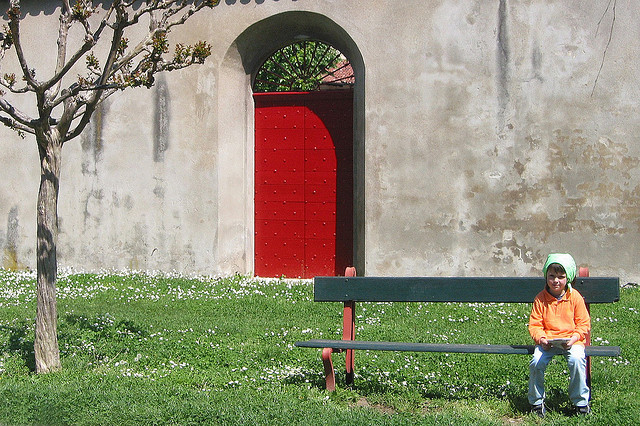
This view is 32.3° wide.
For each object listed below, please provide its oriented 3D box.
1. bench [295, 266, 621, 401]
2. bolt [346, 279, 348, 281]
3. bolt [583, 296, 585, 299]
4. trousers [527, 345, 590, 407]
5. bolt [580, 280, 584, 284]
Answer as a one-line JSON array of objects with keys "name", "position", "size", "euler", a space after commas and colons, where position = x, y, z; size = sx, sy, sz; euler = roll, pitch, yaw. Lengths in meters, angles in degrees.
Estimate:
[{"name": "bench", "position": [2.055, 1.935, 18.007], "size": [4.846, 2.272, 0.638], "euler": [-3, -6, 7]}, {"name": "bolt", "position": [0.444, 1.079, 18.250], "size": [0.032, 0.057, 0.031], "euler": [0, -13, 4]}, {"name": "bolt", "position": [4.250, 1.325, 17.751], "size": [0.029, 0.032, 0.028], "euler": [1, -9, -2]}, {"name": "trousers", "position": [3.756, 2.468, 17.851], "size": [1.097, 1.033, 0.922], "euler": [-1, 18, 0]}, {"name": "bolt", "position": [4.240, 1.084, 17.774], "size": [0.069, 0.048, 0.038], "euler": [-1, -12, -6]}]
